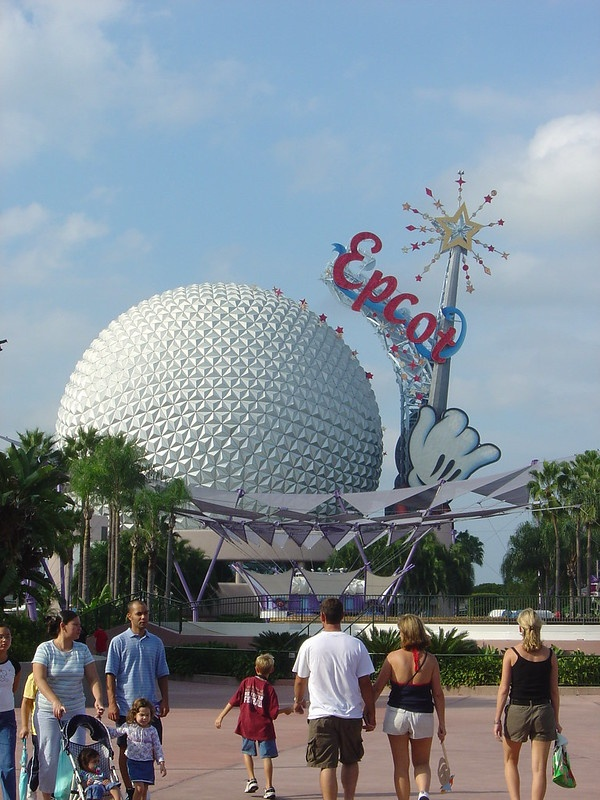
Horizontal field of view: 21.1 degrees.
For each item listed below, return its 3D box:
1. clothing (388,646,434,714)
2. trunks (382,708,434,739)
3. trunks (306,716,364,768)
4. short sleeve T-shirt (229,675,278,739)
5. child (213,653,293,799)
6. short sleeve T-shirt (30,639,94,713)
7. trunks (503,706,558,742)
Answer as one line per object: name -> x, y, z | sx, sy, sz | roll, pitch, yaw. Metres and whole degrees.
clothing -> 0.948, 2.383, 13.488 | 0.279, 0.476, 0.359 | 10, -10, -14
trunks -> 0.905, 2.677, 13.290 | 0.367, 0.235, 0.256 | 4, 0, 11
trunks -> 0.309, 2.792, 13.277 | 0.645, 0.533, 0.371 | 1, -4, 0
short sleeve T-shirt -> -0.425, 2.876, 15.065 | 0.462, 0.568, 0.203 | 7, 9, 12
child -> -0.380, 3.028, 15.111 | 0.632, 1.261, 1.477 | -3, -6, -3
short sleeve T-shirt -> -2.038, 2.441, 13.900 | 0.553, 0.638, 0.336 | 1, -4, -35
trunks -> 1.978, 2.764, 13.710 | 0.512, 0.395, 0.296 | -1, -21, 7
